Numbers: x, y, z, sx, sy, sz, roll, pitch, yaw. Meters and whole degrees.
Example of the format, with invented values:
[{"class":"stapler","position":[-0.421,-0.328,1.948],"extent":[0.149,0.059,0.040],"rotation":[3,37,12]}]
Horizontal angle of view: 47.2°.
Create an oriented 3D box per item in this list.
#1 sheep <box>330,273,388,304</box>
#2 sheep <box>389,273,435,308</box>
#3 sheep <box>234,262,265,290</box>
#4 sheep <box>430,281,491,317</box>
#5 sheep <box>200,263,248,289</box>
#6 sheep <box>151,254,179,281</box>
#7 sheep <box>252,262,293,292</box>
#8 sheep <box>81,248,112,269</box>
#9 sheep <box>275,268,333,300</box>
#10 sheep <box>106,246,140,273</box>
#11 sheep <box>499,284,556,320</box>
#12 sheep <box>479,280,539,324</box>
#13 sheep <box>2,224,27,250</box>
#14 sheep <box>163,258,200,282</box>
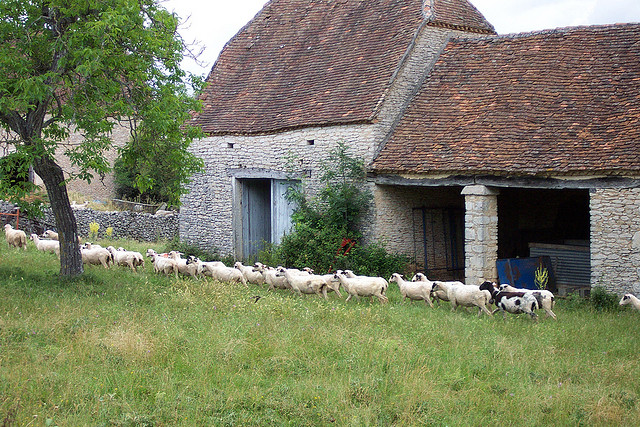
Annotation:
[{"class":"sheep","position":[1.121,2.253,21.283],"extent":[1.763,0.859,0.460],"rotation":[1,0,20]},{"class":"sheep","position":[2.596,2.273,21.302],"extent":[1.562,0.864,0.472],"rotation":[5,7,38]},{"class":"sheep","position":[-2.235,2.012,23.423],"extent":[1.424,0.664,0.428],"rotation":[11,19,34]},{"class":"sheep","position":[3.895,2.390,20.494],"extent":[1.880,0.822,0.564],"rotation":[4,8,32]},{"class":"sheep","position":[-2.996,1.973,23.165],"extent":[1.822,0.742,0.711],"rotation":[-3,-7,43]},{"class":"sheep","position":[-5.220,1.790,24.149],"extent":[1.490,0.727,0.444],"rotation":[3,6,44]},{"class":"sheep","position":[-1.775,1.981,22.440],"extent":[1.773,0.875,0.484],"rotation":[9,11,41]},{"class":"sheep","position":[-7.575,1.509,24.569],"extent":[1.081,0.647,0.375],"rotation":[0,-6,18]},{"class":"sheep","position":[-0.500,2.196,21.802],"extent":[1.807,0.907,0.493],"rotation":[2,7,22]},{"class":"sheep","position":[-6.761,1.620,24.795],"extent":[1.514,0.754,0.404],"rotation":[7,11,33]},{"class":"sheep","position":[5.565,2.540,20.131],"extent":[2.019,0.950,0.514],"rotation":[0,-22,39]},{"class":"sheep","position":[5.158,2.384,20.346],"extent":[2.180,1.214,0.633],"rotation":[1,0,31]},{"class":"sheep","position":[-12.003,0.955,28.658],"extent":[0.748,0.987,1.483],"rotation":[4,-6,-24]},{"class":"sheep","position":[-4.482,1.834,23.778],"extent":[1.074,0.638,0.818],"rotation":[-3,-6,37]}]
